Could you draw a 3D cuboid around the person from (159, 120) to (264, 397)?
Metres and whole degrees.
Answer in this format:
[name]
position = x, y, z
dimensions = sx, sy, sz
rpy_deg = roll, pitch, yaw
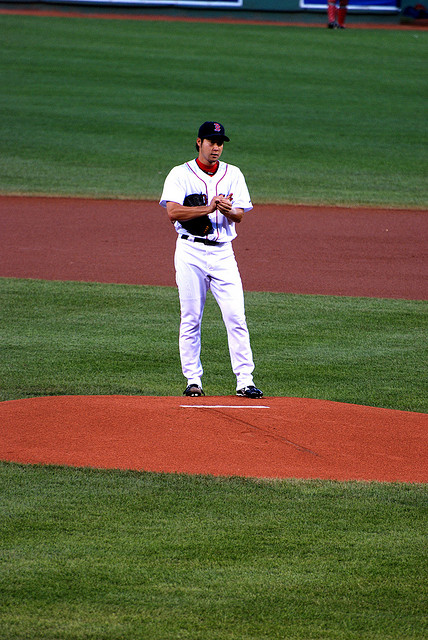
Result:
[person]
position = -0.032, -0.368, 11.356
dimensions = 0.795, 2.189, 1.069
rpy_deg = 4, 18, 2

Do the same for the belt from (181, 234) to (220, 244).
[belt]
position = -0.122, -0.576, 11.051
dimensions = 0.271, 0.049, 0.050
rpy_deg = 6, 18, 8

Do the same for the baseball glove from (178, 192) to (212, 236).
[baseball glove]
position = -0.139, -0.753, 11.060
dimensions = 0.223, 0.262, 0.197
rpy_deg = 3, 18, -1
